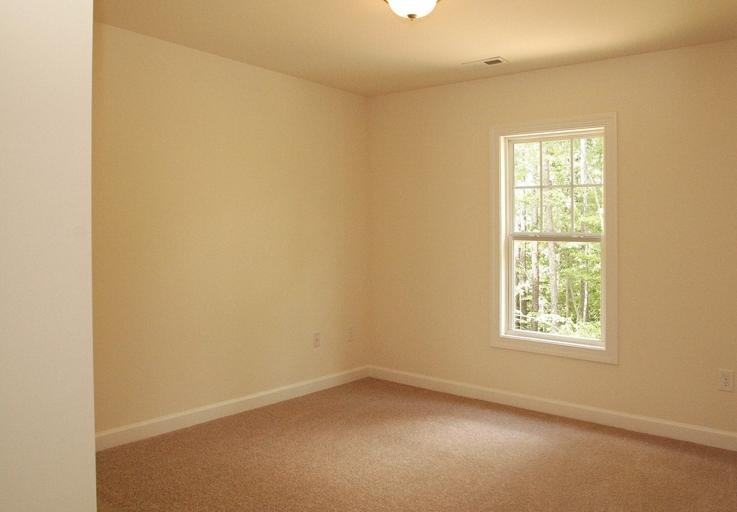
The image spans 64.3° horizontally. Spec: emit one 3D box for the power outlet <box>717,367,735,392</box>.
[{"bbox_3d":[2.608,0.907,4.263,0.101,0.158,0.031,6,10,36],"label":"power outlet"}]
